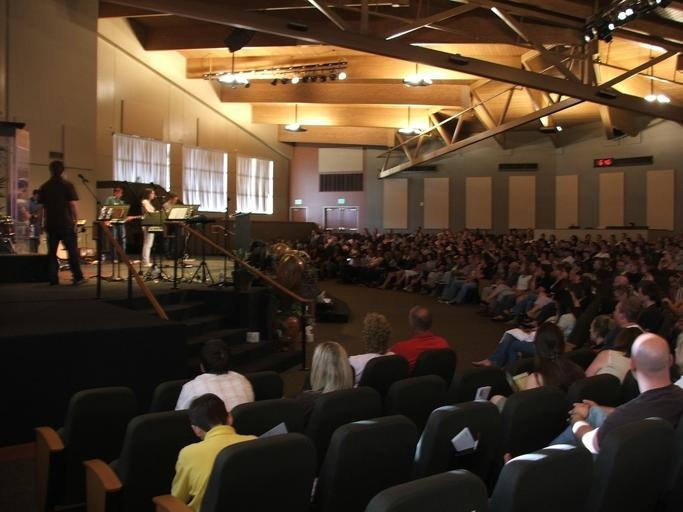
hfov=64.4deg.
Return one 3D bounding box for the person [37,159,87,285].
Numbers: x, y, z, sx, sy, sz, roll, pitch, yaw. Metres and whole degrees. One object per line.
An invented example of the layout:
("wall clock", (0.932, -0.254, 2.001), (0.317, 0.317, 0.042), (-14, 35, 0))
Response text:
("person", (-3.605, -0.431, 6.959), (0.446, 1.612, 0.435), (-5, 4, -38))
